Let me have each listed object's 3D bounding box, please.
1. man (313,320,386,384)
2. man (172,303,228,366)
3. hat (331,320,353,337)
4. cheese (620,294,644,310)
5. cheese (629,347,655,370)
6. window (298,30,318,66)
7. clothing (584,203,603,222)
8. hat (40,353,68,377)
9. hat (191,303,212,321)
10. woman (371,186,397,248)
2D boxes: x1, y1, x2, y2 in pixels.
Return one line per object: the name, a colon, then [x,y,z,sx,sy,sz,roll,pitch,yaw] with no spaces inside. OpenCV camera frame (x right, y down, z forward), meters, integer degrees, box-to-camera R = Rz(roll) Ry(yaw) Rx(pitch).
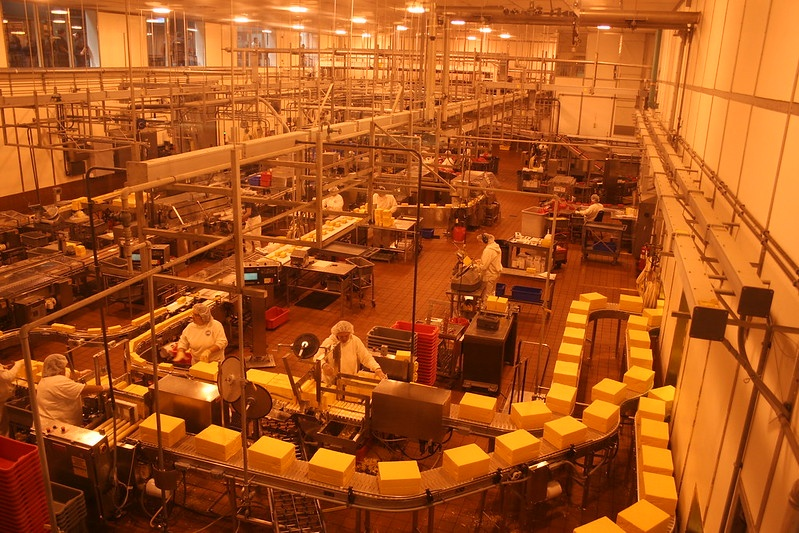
man: [-0.820,1.273,9.150,0.870,0.815,0.800,-12,23,-32]
man: [-3.193,1.072,9.987,0.774,0.895,0.602,-5,20,-15]
hat: [-0.884,0.962,9.576,0.376,0.147,0.441,0,18,0]
cheese: [4.340,0.681,11.783,0.373,0.185,0.281,8,18,25]
cheese: [3.881,1.470,10.120,0.365,0.260,0.360,3,15,25]
window: [-3.908,-9.408,27.272,0.791,1.406,0.718,-5,28,-29]
clothing: [5.320,-1.452,17.190,0.465,0.346,1.095,14,1,12]
hat: [-4.560,1.316,8.331,0.345,0.353,0.307,1,17,-26]
hat: [-3.157,0.755,9.981,0.287,0.369,0.265,3,45,-21]
woman: [-0.421,-1.368,15.881,0.623,1.516,0.482,5,50,0]
